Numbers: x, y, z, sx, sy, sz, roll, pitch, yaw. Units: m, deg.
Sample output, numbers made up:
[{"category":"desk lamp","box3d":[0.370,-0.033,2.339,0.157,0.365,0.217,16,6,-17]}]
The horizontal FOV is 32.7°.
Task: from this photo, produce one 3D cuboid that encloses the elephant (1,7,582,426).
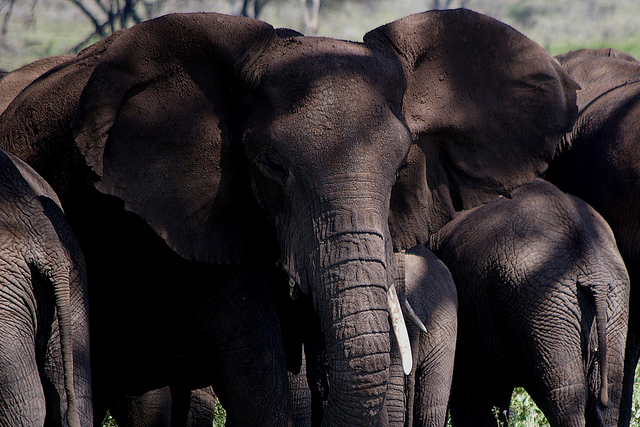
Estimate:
[{"category":"elephant","box3d":[-0.237,0.029,5.416,2.646,2.051,1.248,-3,-8,21]}]
